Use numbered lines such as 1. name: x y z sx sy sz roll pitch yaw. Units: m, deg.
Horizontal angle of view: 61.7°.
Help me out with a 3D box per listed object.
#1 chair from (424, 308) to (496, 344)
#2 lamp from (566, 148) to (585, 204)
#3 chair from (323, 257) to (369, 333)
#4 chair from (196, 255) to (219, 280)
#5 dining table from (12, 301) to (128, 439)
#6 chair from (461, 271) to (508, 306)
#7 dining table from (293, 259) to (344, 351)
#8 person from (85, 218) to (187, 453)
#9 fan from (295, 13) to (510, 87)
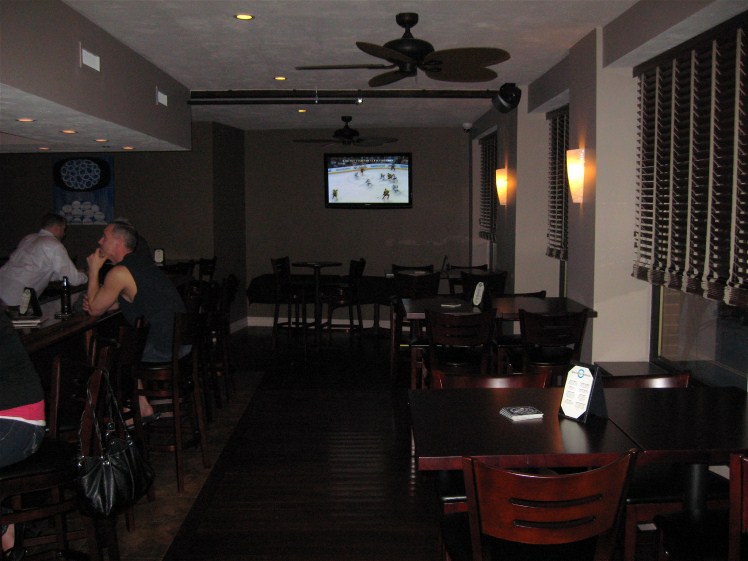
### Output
1. chair: 0.717 0.376 4.989 0.526 0.298 0.653 -2 -5 24
2. lamp: 1.602 -0.831 4.985 0.112 0.432 0.204 1 9 10
3. chair: -0.475 0.192 8.459 0.627 0.855 0.597 5 12 31
4. chair: -2.282 -0.193 8.638 0.272 0.462 0.304 -1 17 -20
5. dining table: -1.886 0.480 4.008 0.528 0.580 0.881 -1 6 -11
6. chair: 1.177 0.109 6.661 0.366 0.459 0.405 1 10 3
7. dining table: -0.782 0.239 8.646 0.700 1.036 2.307 -1 8 -4
8. person: -1.708 0.269 4.493 0.733 1.391 0.574 7 14 5
9. fan: 0.344 -1.597 4.263 1.019 0.433 1.296 0 8 2
